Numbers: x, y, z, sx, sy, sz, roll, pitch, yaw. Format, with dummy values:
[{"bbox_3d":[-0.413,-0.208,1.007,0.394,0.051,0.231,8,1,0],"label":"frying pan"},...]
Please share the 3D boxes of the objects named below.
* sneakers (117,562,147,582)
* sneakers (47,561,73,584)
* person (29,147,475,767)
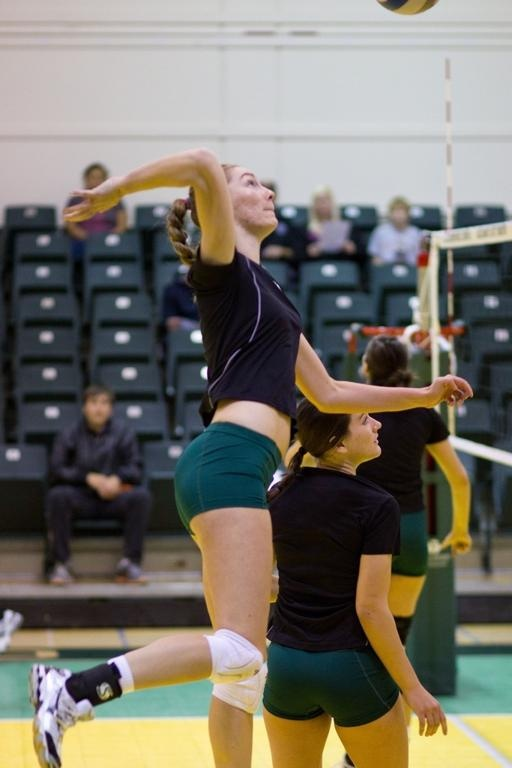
[{"bbox_3d":[-0.688,1.039,5.951,0.149,0.140,0.092,1,-18,45],"label":"sneakers"},{"bbox_3d":[-1.052,1.023,5.845,0.103,0.117,0.117,6,-23,-22],"label":"sneakers"},{"bbox_3d":[-0.069,0.173,2.621,1.057,1.447,0.432,-4,5,-32],"label":"person"}]
